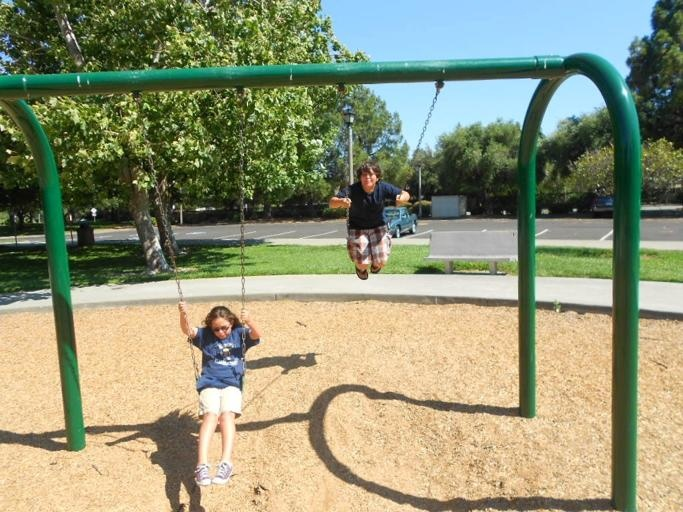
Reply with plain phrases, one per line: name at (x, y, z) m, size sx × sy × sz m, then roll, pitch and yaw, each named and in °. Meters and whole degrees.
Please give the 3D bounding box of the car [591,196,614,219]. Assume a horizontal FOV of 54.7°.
car at (12.749, -2.434, 32.179) m, size 0.856 × 1.147 × 1.919 m, roll 0°, pitch 9°, yaw 18°

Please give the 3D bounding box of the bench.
bench at (2.471, -0.082, 12.543) m, size 1.622 × 0.770 × 1.062 m, roll 0°, pitch 9°, yaw 18°

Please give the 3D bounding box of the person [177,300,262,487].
person at (-1.200, 1.220, 6.331) m, size 0.654 × 0.789 × 1.814 m, roll -2°, pitch 49°, yaw -4°

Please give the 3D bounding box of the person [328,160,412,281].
person at (0.338, -0.369, 8.087) m, size 0.909 × 1.488 × 0.766 m, roll -4°, pitch 15°, yaw -9°
